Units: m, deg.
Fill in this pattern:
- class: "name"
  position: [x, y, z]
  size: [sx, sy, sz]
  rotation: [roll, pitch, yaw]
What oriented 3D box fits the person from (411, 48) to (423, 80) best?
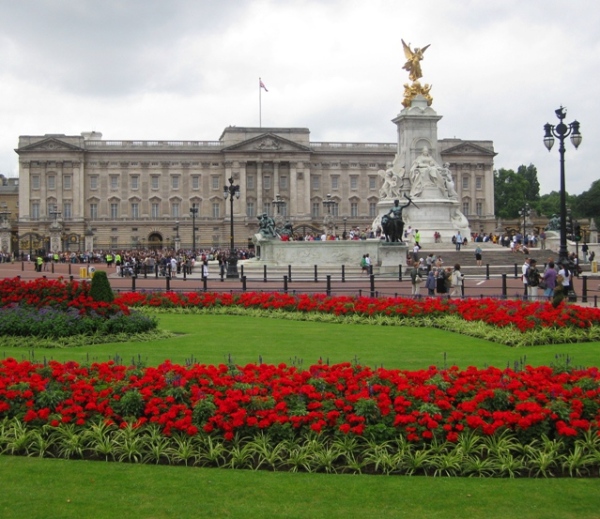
- class: "person"
  position: [5.270, -8.704, 66.134]
  size: [0.442, 1.333, 0.893]
  rotation: [1, 3, 3]
